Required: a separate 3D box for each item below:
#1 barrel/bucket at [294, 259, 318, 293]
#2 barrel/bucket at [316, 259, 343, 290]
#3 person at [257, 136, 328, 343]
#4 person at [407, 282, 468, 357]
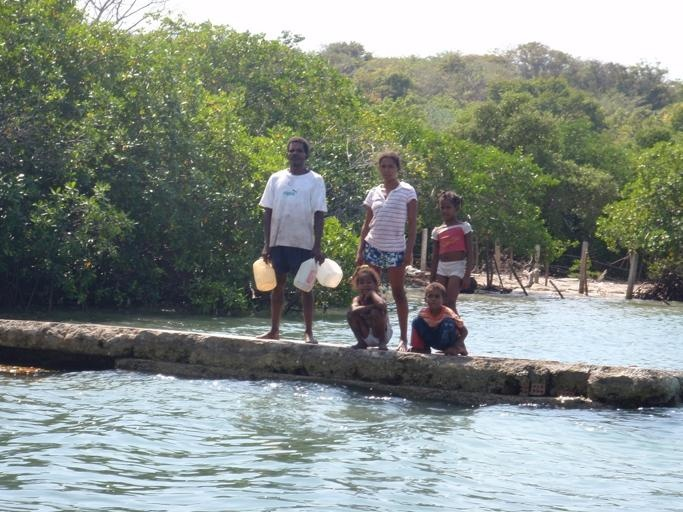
[{"bbox_3d":[-0.629,0.304,20.951,0.457,0.556,0.236,3,0,-21],"label":"barrel/bucket"},{"bbox_3d":[-0.265,0.314,22.181,0.332,0.356,0.571,21,16,-18],"label":"barrel/bucket"},{"bbox_3d":[-0.860,-0.305,21.050,1.109,3.355,0.406,3,0,7],"label":"person"},{"bbox_3d":[1.616,1.019,20.795,0.923,1.199,0.432,3,0,2],"label":"person"}]
